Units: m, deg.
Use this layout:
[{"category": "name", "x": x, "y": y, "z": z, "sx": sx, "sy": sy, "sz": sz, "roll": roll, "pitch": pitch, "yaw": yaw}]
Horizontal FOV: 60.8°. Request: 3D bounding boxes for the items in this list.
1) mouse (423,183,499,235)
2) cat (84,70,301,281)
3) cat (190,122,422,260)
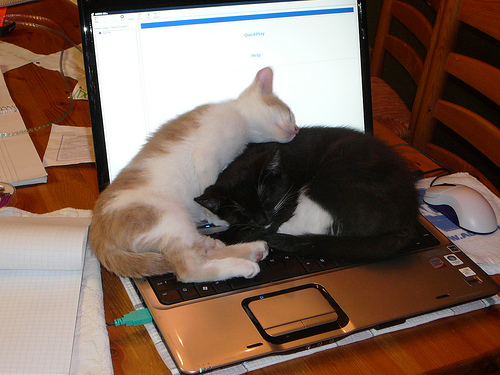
[{"category": "mouse", "x": 0.457, "y": 0.039, "z": 0.941, "sx": 0.079, "sy": 0.050, "sz": 0.135, "roll": -20, "pitch": 45, "yaw": -39}, {"category": "cat", "x": -0.070, "y": -0.026, "z": 0.834, "sx": 0.463, "sy": 0.292, "sz": 0.301, "roll": -21, "pitch": 30, "yaw": -36}, {"category": "cat", "x": 0.151, "y": -0.006, "z": 0.973, "sx": 0.497, "sy": 0.207, "sz": 0.404, "roll": 1, "pitch": 35, "yaw": 24}]
